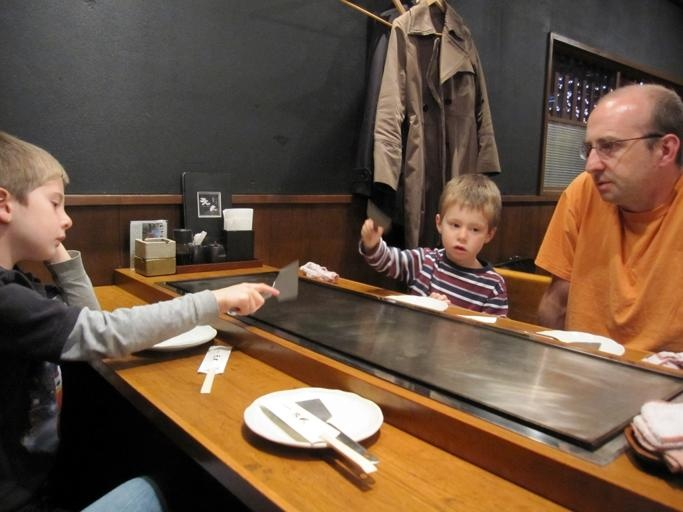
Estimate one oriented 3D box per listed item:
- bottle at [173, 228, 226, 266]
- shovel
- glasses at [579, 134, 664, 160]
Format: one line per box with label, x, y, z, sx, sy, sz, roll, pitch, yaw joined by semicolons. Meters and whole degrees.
bottle;-0.736;-0.044;2.414;0.263;0.250;0.152;2;-2;-34
shovel;-0.258;0.109;1.644;0.232;0.133;0.045;-28;44;-20
glasses;0.975;-0.382;1.708;0.263;0.095;0.142;10;15;35
